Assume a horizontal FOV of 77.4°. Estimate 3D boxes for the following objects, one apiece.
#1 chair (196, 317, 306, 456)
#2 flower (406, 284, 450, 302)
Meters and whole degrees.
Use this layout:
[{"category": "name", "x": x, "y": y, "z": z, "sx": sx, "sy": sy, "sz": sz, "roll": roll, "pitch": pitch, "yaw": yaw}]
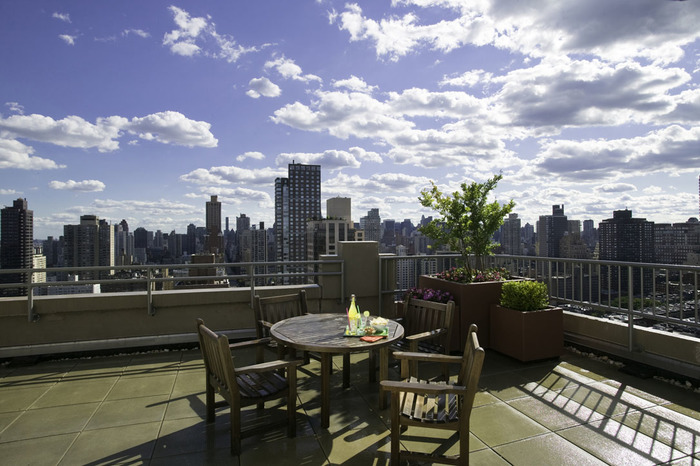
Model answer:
[{"category": "chair", "x": -1.802, "y": 2.511, "z": 7.941, "sx": 1.976, "sy": 2.546, "sz": 1.987, "roll": -2, "pitch": 4, "yaw": -29}, {"category": "flower", "x": 1.708, "y": 1.323, "z": 9.351, "sx": 0.605, "sy": 0.178, "sz": 0.431, "roll": 3, "pitch": 8, "yaw": 32}]
